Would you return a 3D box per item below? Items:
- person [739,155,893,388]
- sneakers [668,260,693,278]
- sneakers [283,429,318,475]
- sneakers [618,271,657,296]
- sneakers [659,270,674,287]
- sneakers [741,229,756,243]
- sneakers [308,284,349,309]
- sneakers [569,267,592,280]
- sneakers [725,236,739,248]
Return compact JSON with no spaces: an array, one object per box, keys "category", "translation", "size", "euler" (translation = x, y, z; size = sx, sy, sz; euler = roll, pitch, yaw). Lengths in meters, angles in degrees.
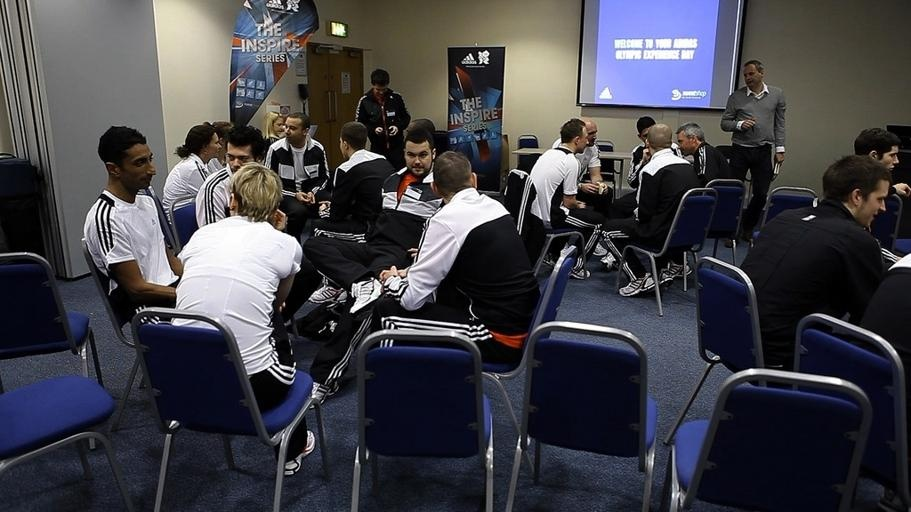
[{"category":"person","translation":[2.367,0.049,3.648],"size":[0.879,1.312,0.581],"euler":[-2,17,-13]},{"category":"sneakers","translation":[2.493,0.162,6.280],"size":[0.172,0.200,0.511],"euler":[-5,-5,14]},{"category":"sneakers","translation":[-1.045,1.322,3.788],"size":[0.097,0.115,0.277],"euler":[16,61,11]},{"category":"sneakers","translation":[1.914,0.312,5.901],"size":[0.427,0.210,0.183],"euler":[-19,-10,25]},{"category":"sneakers","translation":[2.223,0.239,5.964],"size":[0.134,0.182,0.404],"euler":[4,11,19]},{"category":"sneakers","translation":[3.696,-0.237,7.135],"size":[0.174,0.064,0.178],"euler":[-27,32,-23]},{"category":"sneakers","translation":[-1.223,0.392,5.314],"size":[0.373,0.231,0.131],"euler":[-21,-22,-6]},{"category":"sneakers","translation":[1.344,0.202,6.122],"size":[0.282,0.098,0.121],"euler":[22,19,22]},{"category":"sneakers","translation":[3.120,-0.152,6.381],"size":[0.119,0.159,0.166],"euler":[1,14,5]}]
